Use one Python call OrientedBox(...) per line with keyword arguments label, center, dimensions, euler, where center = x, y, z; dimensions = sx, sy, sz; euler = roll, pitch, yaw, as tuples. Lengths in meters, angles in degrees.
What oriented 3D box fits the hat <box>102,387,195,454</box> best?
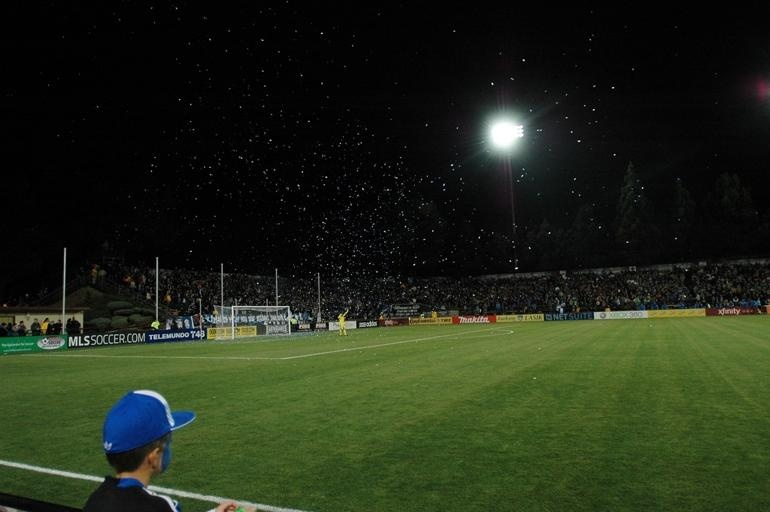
OrientedBox(label="hat", center=(-3.753, 2.591, 9.611), dimensions=(0.858, 0.728, 1.295), euler=(-2, 0, 40))
